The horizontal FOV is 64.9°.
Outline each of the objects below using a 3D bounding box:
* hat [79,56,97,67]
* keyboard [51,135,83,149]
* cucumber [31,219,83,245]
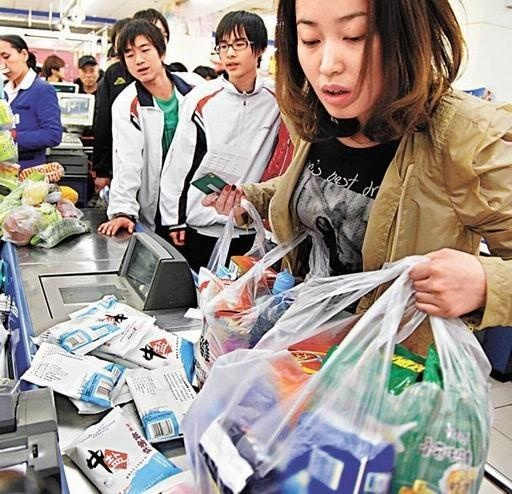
[{"bbox_3d":[-2.497,-2.696,5.913,0.167,0.131,0.248,-10,15,-7],"label":"hat"},{"bbox_3d":[-2.038,-1.099,4.283,0.300,0.091,0.447,-1,29,-11],"label":"keyboard"},{"bbox_3d":[-0.936,-0.073,1.925,0.067,0.058,0.220,20,23,14],"label":"cucumber"}]
